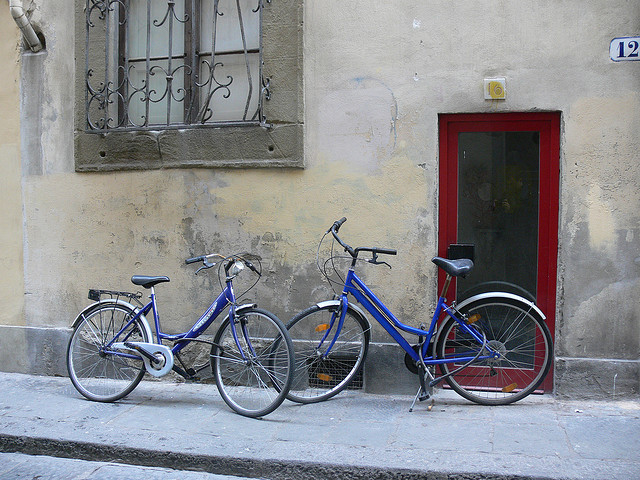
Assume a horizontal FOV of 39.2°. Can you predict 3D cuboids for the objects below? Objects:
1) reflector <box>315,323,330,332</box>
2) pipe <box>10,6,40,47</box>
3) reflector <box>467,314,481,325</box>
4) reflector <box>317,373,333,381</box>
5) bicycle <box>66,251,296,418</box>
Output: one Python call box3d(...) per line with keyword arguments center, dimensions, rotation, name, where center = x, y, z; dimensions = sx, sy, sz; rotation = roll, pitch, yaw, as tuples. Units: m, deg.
box3d(center=(0.028, 0.878, 9.010), dimensions=(0.176, 0.062, 0.015), rotation=(-19, -7, 31), name="reflector")
box3d(center=(-3.229, -2.350, 9.833), dimensions=(0.121, 0.410, 0.298), rotation=(3, 5, 39), name="pipe")
box3d(center=(1.511, 0.777, 8.787), dimensions=(0.102, 0.075, 0.036), rotation=(-25, 18, -17), name="reflector")
box3d(center=(0.044, 1.403, 9.152), dimensions=(0.171, 0.060, 0.018), rotation=(5, 1, 15), name="reflector")
box3d(center=(-1.391, 0.915, 9.094), dimensions=(2.549, 1.527, 0.996), rotation=(2, -8, 18), name="bicycle")
